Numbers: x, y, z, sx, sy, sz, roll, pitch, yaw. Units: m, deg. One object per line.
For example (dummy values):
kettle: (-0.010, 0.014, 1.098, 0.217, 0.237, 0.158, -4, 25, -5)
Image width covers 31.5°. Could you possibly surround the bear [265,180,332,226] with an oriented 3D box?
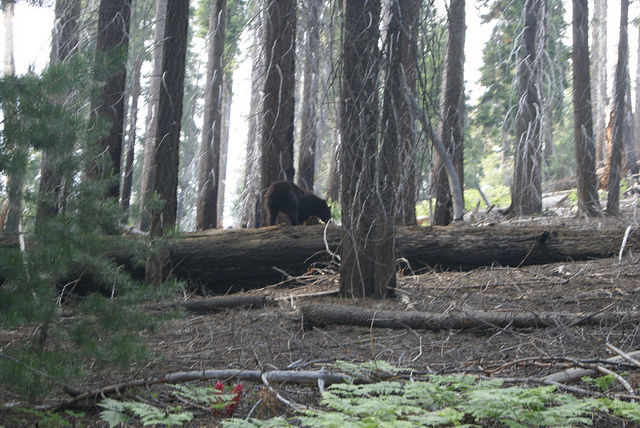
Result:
bear: (-0.634, -0.290, 28.630, 0.668, 0.802, 2.168, -4, -1, 33)
